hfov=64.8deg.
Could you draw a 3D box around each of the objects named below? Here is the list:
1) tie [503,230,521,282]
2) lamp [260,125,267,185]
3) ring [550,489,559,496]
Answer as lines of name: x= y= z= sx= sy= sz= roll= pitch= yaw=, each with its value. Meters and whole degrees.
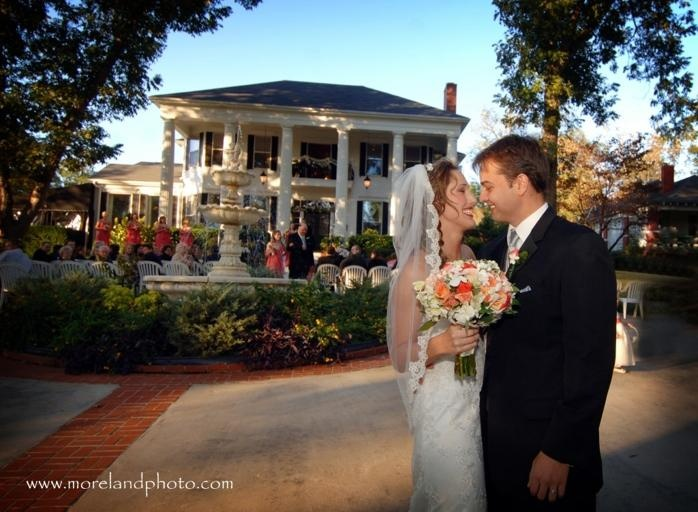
tie: x=1.286 y=-0.052 z=4.262 sx=0.134 sy=0.022 sz=0.393 roll=20 pitch=-30 yaw=37
lamp: x=-4.557 y=-5.137 z=29.777 sx=0.450 sy=2.688 sz=0.903 roll=-1 pitch=6 yaw=-9
ring: x=1.429 y=1.648 z=3.849 sx=0.055 sy=0.048 sz=0.008 roll=0 pitch=6 yaw=-1
